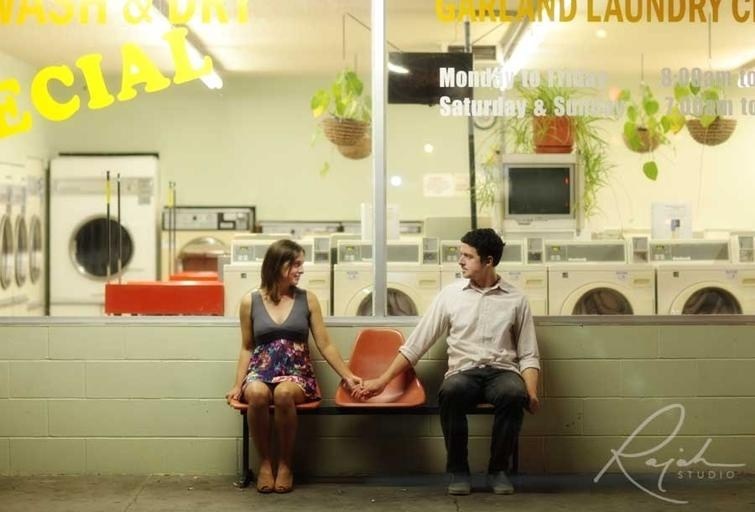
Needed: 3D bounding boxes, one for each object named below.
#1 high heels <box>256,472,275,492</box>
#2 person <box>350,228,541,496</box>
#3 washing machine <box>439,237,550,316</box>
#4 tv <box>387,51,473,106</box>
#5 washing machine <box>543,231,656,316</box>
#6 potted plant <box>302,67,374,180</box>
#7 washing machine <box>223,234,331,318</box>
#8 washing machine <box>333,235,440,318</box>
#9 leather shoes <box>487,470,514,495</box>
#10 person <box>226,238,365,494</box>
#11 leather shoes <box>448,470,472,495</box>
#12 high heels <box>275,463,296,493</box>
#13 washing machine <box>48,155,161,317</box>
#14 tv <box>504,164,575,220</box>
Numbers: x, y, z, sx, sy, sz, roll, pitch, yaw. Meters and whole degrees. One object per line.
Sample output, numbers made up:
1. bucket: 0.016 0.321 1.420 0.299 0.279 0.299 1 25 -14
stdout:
1. high heels: -0.719 1.449 5.112 0.123 0.128 0.089 0 4 3
2. person: 0.442 0.774 5.285 1.469 2.090 1.092 -1 -10 6
3. washing machine: 0.843 0.265 5.664 0.804 0.802 0.385 0 -2 -9
4. tv: 0.342 -1.184 5.621 0.589 0.389 0.323 1 -11 -10
5. washing machine: 1.578 0.216 5.711 0.710 0.707 0.439 -3 15 11
6. potted plant: -0.237 -0.980 5.502 0.484 0.692 0.663 1 2 -7
7. washing machine: -0.684 0.287 5.679 0.751 0.758 0.455 2 -12 3
8. washing machine: 0.077 0.235 5.696 0.743 0.729 0.394 1 5 -1
9. leather shoes: 0.791 1.458 5.089 0.093 0.086 0.193 1 -9 -8
10. person: -0.587 0.705 5.150 0.733 1.604 0.368 -1 4 -13
11. leather shoes: 0.529 1.451 5.167 0.141 0.156 0.254 0 4 4
12. high heels: -0.599 1.412 5.112 0.120 0.210 0.070 -2 4 -16
13. washing machine: -2.004 -0.147 5.836 0.876 1.298 0.847 -8 18 -43
14. tv: 1.136 -0.462 5.616 0.573 0.426 0.316 0 6 1
